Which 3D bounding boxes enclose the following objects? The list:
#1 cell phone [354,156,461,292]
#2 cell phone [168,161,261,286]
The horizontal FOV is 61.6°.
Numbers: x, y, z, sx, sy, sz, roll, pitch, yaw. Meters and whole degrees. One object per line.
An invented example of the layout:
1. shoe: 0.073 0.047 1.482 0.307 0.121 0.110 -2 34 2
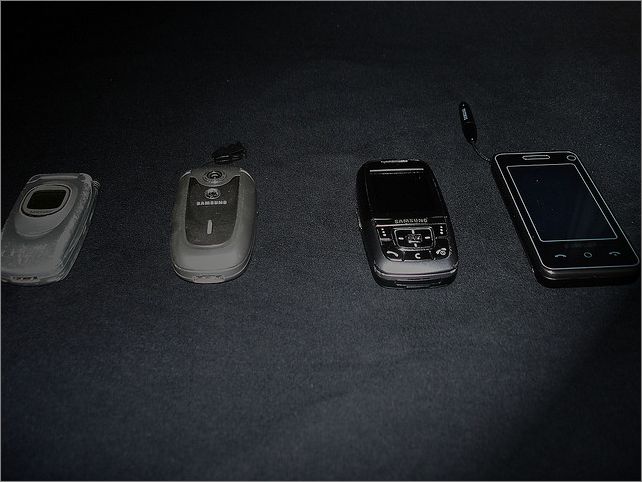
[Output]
1. cell phone: 0.141 -0.032 0.908 0.138 0.266 0.066 -4 -43 -3
2. cell phone: -0.180 -0.034 0.906 0.145 0.241 0.070 -3 -42 -5
